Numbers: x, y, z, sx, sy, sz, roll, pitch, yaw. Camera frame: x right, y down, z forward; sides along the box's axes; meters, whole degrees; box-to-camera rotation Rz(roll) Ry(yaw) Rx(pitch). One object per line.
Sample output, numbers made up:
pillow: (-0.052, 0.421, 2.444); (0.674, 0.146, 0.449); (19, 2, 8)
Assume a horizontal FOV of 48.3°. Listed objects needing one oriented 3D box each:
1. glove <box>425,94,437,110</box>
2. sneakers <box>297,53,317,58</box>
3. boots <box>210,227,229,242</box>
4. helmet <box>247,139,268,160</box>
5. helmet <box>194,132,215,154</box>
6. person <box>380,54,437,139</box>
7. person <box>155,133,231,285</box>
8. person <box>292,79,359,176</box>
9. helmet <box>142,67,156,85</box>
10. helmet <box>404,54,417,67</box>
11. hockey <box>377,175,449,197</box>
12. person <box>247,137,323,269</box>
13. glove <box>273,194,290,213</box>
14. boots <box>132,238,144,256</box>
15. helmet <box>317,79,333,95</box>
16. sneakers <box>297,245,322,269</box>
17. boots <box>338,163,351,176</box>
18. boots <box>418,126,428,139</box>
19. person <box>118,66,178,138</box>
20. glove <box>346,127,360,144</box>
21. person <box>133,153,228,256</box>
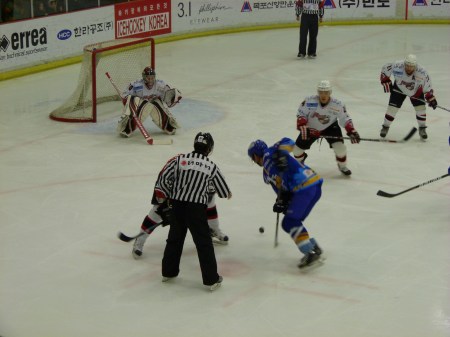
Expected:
glove: (3.378, -1.106, 8.204); (0.120, 0.266, 0.169); (-24, 11, -18)
sneakers: (2.156, -3.002, 13.269); (0.351, 0.145, 0.098); (-2, 60, -1)
boots: (-0.067, 0.726, 5.480); (0.268, 0.100, 0.091); (23, 25, -18)
helmet: (0.347, -0.219, 5.174); (0.210, 0.193, 0.157); (-1, 4, 29)
helmet: (-0.198, -0.243, 4.886); (0.207, 0.224, 0.244); (3, -5, 11)
person: (3.038, -1.218, 8.339); (0.914, 1.483, 0.675); (9, 35, 23)
person: (-0.293, 0.404, 4.771); (0.738, 1.413, 0.618); (-5, 17, -8)
person: (1.374, -0.530, 6.961); (0.946, 1.301, 0.799); (4, 22, 18)
helmet: (-1.313, -1.549, 8.293); (0.232, 0.266, 0.291); (-6, 29, -10)
helmet: (2.905, -1.688, 7.856); (0.186, 0.169, 0.210); (4, 17, 18)
hockey: (2.546, 0.240, 6.797); (0.893, 0.099, 0.070); (-15, -8, 13)
person: (0.629, 0.337, 5.082); (0.722, 1.314, 0.365); (2, 17, 12)
glove: (0.571, 0.335, 5.108); (0.157, 0.140, 0.198); (1, 27, 27)
boots: (-0.896, 0.821, 5.217); (0.084, 0.207, 0.093); (2, -7, -21)
helmet: (1.308, -1.065, 6.602); (0.163, 0.161, 0.180); (3, 17, 15)
sneakers: (0.860, 0.894, 5.082); (0.162, 0.233, 0.075); (34, 20, -48)
boots: (1.702, -0.030, 7.274); (0.103, 0.113, 0.266); (-27, 50, -12)
boots: (3.367, -0.593, 8.463); (0.114, 0.245, 0.181); (-6, -21, 8)
person: (-1.330, -1.131, 8.558); (1.100, 1.066, 0.692); (-6, 24, -24)
glove: (1.769, -0.448, 6.919); (0.179, 0.220, 0.224); (1, 16, 8)
person: (-0.461, 0.419, 5.174); (1.188, 1.163, 0.641); (2, 4, 2)
